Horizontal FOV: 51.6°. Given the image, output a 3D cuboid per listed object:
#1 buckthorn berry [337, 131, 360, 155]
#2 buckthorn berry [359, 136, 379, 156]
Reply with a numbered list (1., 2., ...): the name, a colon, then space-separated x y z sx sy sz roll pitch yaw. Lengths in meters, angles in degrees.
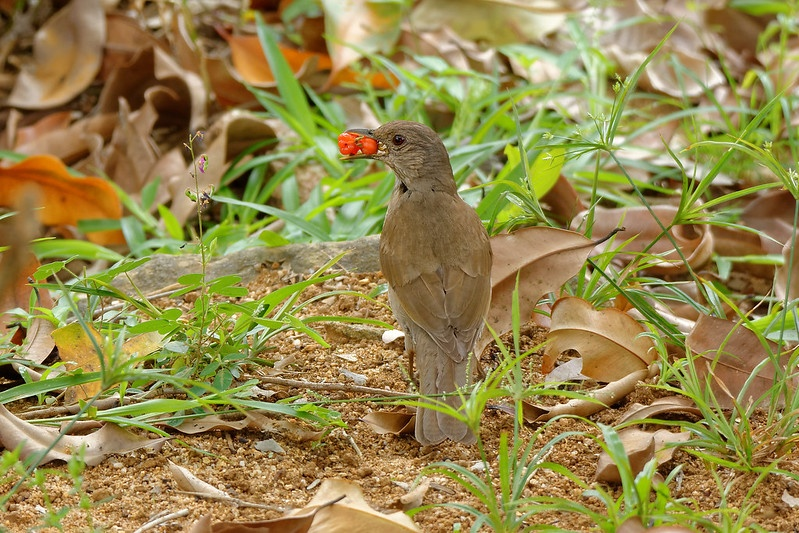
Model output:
1. buckthorn berry: -0.317 -0.764 5.092 0.108 0.144 0.110 -10 14 -28
2. buckthorn berry: -0.187 -0.734 5.026 0.122 0.096 0.091 24 -12 -7
